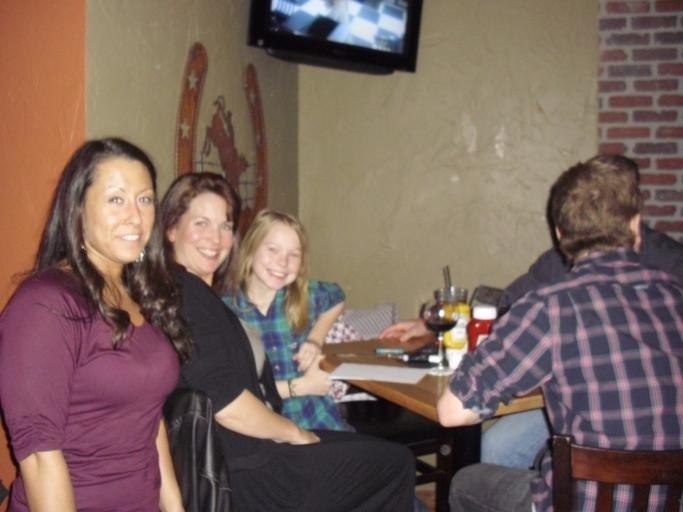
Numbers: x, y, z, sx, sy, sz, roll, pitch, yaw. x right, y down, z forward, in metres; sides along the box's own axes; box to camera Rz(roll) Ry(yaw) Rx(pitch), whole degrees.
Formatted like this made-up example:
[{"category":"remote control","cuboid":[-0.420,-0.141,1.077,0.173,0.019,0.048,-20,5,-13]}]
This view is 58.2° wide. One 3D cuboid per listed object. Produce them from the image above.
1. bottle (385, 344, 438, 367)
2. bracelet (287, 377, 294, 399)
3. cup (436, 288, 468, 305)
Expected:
[{"category":"bottle","cuboid":[0.301,0.390,2.388,0.082,0.080,0.085,-9,-24,38]},{"category":"bracelet","cuboid":[-0.193,0.504,2.331,0.014,0.052,0.038,3,2,-12]},{"category":"cup","cuboid":[0.433,0.160,2.458,0.078,0.047,0.098,-1,1,-37]}]
